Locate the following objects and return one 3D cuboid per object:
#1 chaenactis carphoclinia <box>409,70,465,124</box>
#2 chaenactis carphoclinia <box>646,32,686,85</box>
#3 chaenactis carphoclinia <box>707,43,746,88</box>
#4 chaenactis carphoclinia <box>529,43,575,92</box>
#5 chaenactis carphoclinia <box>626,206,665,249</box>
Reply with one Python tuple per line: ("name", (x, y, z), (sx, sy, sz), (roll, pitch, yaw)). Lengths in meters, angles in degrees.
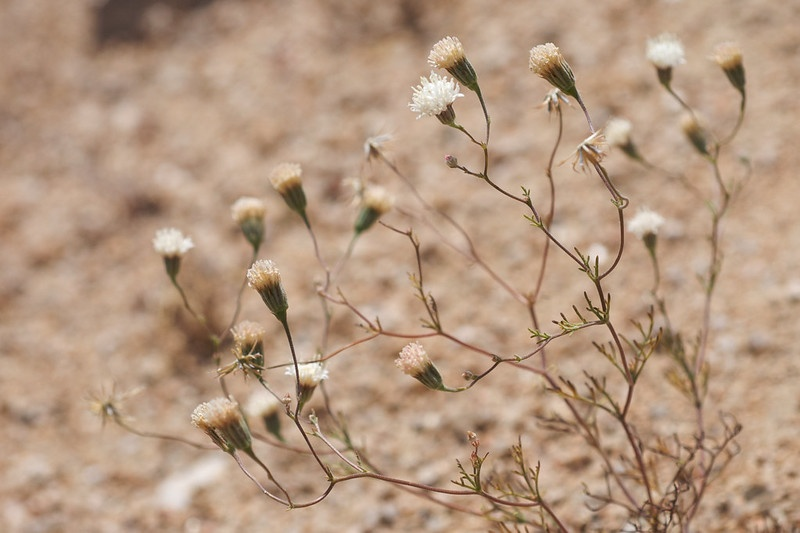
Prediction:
("chaenactis carphoclinia", (0.158, -0.725, 6.067), (0.209, 0.214, 0.204), (-4, 32, 24))
("chaenactis carphoclinia", (1.174, -0.903, 6.269), (0.131, 0.184, 0.164), (-1, 3, 14))
("chaenactis carphoclinia", (1.440, -0.870, 6.199), (0.125, 0.195, 0.191), (-11, 30, 11))
("chaenactis carphoclinia", (0.659, -0.856, 6.054), (0.177, 0.224, 0.170), (-7, 31, 18))
("chaenactis carphoclinia", (1.107, -0.193, 6.413), (0.144, 0.161, 0.155), (-21, 15, 15))
